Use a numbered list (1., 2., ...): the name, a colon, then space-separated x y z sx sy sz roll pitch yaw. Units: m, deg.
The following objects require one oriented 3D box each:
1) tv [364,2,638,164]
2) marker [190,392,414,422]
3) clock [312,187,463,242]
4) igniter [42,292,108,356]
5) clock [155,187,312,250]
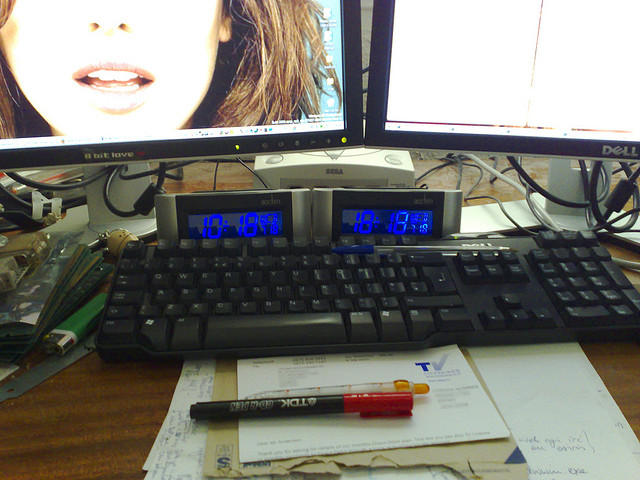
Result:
1. tv: 0.279 -0.243 0.767 0.358 0.181 0.023 -1 12 2
2. marker: -0.016 0.197 0.601 0.252 0.024 0.024 -2 -3 -2
3. clock: 0.096 -0.033 0.824 0.324 0.092 0.053 -1 4 -33
4. igniter: -0.320 0.113 0.708 0.058 0.018 0.094 14 39 27
5. clock: -0.139 -0.031 0.799 0.262 0.081 0.033 -4 7 -31
